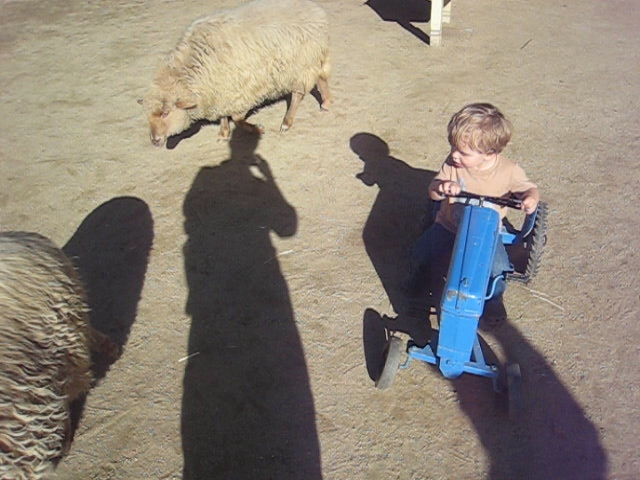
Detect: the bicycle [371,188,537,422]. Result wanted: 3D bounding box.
[{"bbox_3d":[1.420,0.621,9.071,1.177,1.456,2.481,13,73,21],"label":"bicycle"}]
